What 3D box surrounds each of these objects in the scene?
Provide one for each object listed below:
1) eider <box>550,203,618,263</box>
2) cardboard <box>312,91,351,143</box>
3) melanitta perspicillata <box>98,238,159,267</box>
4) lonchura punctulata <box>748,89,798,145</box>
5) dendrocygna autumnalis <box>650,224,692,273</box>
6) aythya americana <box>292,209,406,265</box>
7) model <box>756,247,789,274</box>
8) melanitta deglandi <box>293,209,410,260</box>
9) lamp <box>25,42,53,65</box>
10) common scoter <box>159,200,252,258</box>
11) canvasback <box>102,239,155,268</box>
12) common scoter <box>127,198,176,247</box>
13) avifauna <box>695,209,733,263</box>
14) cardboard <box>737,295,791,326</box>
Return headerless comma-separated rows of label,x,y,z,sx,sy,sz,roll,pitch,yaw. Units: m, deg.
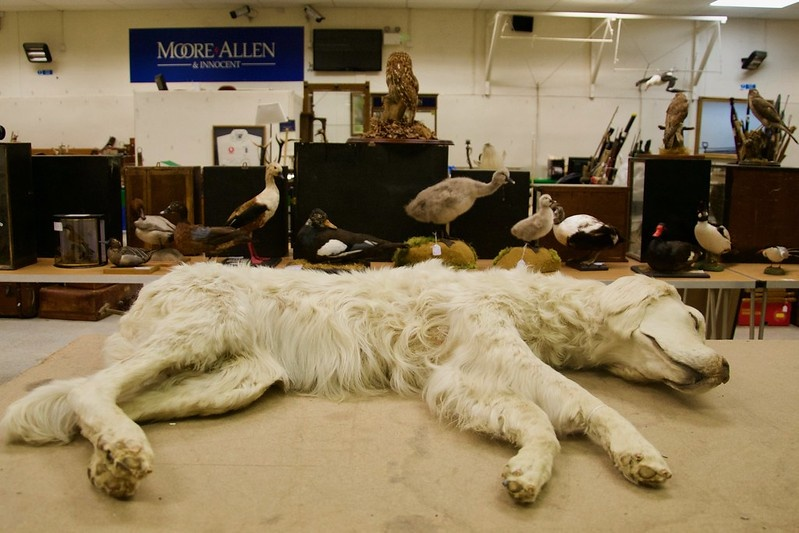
eider,1.298,-0.274,5.431,0.479,0.335,0.227,3,11,11
cardboard,-0.908,-1.951,10.070,0.016,0.664,0.517,-20,1,26
melanitta perspicillata,-1.920,-0.086,5.481,0.297,0.200,0.172,2,1,-8
lonchura punctulata,2.727,-1.158,5.770,0.312,0.477,0.322,5,23,1
dendrocygna autumnalis,1.777,-0.108,5.184,0.346,0.280,0.235,0,-1,-41
aythya americana,-0.311,-0.174,5.097,0.682,0.388,0.328,-2,10,-12
model,2.667,-0.037,5.533,0.183,0.229,0.227,0,-2,-9
melanitta deglandi,-0.323,-0.177,5.078,0.651,0.370,0.301,-2,11,-5
lamp,-5.107,-3.028,11.020,0.358,0.298,0.269,0,11,-4
common scoter,-1.343,-0.242,5.495,0.586,0.429,0.265,1,0,-10
canvasback,-1.901,-0.091,5.506,0.295,0.200,0.172,2,1,-5
common scoter,-1.839,-0.337,5.807,0.267,0.265,0.163,-7,34,-5
avifauna,2.208,-0.219,5.450,0.327,0.405,0.196,-14,18,-24
cardboard,3.233,0.415,6.929,0.465,0.290,0.453,1,10,9
